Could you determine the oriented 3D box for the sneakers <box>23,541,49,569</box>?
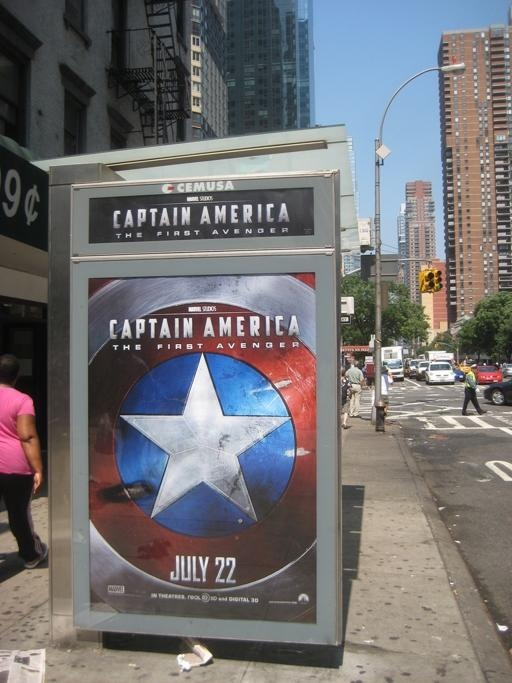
[{"bbox_3d":[-1.797,1.766,6.020,0.099,0.140,0.302,2,18,1],"label":"sneakers"}]
